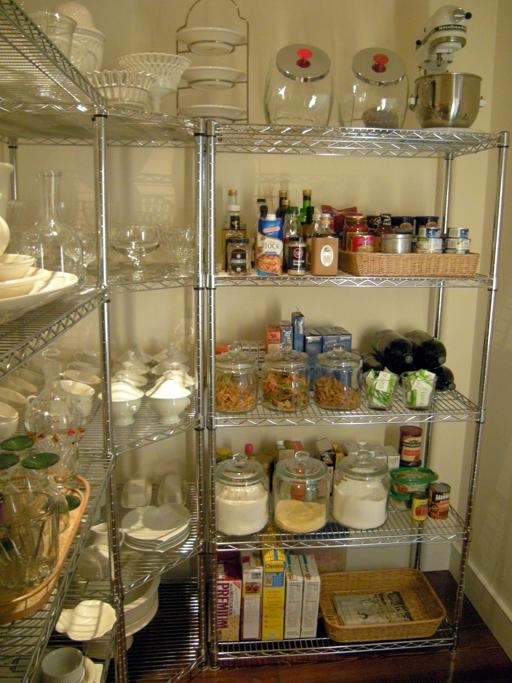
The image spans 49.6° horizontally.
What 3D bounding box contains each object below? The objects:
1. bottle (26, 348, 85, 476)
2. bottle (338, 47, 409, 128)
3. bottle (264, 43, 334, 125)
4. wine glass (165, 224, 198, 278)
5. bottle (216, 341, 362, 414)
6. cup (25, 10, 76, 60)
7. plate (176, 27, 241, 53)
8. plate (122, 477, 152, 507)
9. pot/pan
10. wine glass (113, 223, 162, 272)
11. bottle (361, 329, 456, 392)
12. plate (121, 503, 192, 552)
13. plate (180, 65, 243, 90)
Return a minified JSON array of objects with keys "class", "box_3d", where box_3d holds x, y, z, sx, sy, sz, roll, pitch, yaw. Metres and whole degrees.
[{"class":"bottle","box_3d":[-0.406,0.152,1.127,0.095,0.238,0.117,2,14,14]},{"class":"bottle","box_3d":[0.339,-0.698,1.603,0.249,0.219,0.240,0,18,-1]},{"class":"bottle","box_3d":[0.099,-0.733,1.643,0.237,0.237,0.224,0,41,-1]},{"class":"wine glass","box_3d":[-0.211,-0.258,1.577,0.077,0.132,0.216,-3,14,-9]},{"class":"bottle","box_3d":[0.098,0.080,1.781,0.417,0.171,0.210,-5,14,-29]},{"class":"cup","box_3d":[-0.361,-0.551,0.997,0.074,0.092,0.149,-5,14,-15]},{"class":"plate","box_3d":[-0.123,-0.817,1.495,0.169,0.062,0.120,-4,14,-12]},{"class":"plate","box_3d":[-0.393,0.495,1.838,0.077,0.021,0.078,-12,30,-33]},{"class":"pot/pan","box_3d":[0.546,-0.647,1.570,0.187,0.124,0.161,0,13,0]},{"class":"wine glass","box_3d":[-0.328,-0.270,1.503,0.112,0.090,0.092,1,14,9]},{"class":"bottle","box_3d":[0.503,0.064,1.829,0.108,0.111,0.181,18,12,-24]},{"class":"plate","box_3d":[-0.303,0.568,1.686,0.208,0.055,0.190,-3,13,-7]},{"class":"plate","box_3d":[-0.117,-0.740,1.545,0.169,0.049,0.092,-2,13,-6]}]
